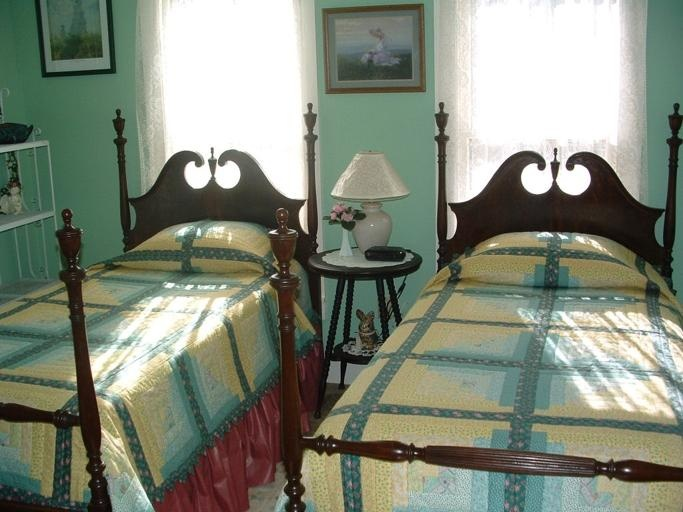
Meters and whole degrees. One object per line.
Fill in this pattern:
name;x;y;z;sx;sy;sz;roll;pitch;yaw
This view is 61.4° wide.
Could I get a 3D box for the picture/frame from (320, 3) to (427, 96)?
picture/frame;0.226;-1.350;3.668;0.541;0.490;0.022;3;19;15
